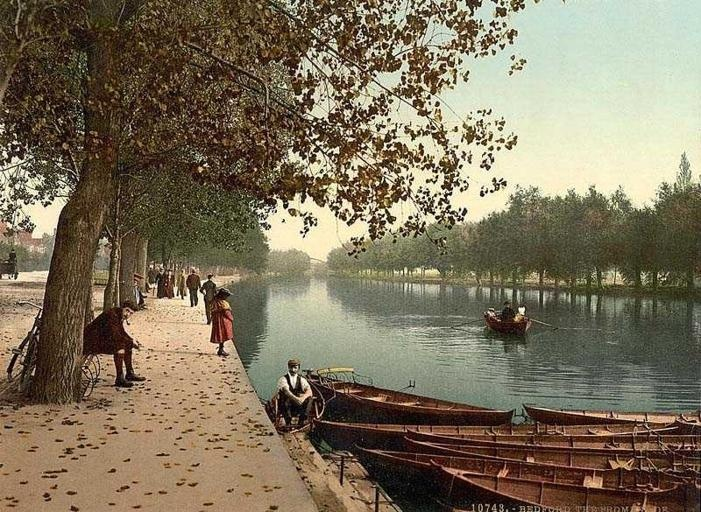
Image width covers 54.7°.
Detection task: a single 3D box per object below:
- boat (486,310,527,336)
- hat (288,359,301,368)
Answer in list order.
[{"bbox_3d":[9.563,4.166,41.497,1.494,1.449,4.270,3,-6,-11],"label":"boat"},{"bbox_3d":[-1.552,2.932,18.435,0.260,0.142,0.368,3,-17,-2],"label":"hat"}]
